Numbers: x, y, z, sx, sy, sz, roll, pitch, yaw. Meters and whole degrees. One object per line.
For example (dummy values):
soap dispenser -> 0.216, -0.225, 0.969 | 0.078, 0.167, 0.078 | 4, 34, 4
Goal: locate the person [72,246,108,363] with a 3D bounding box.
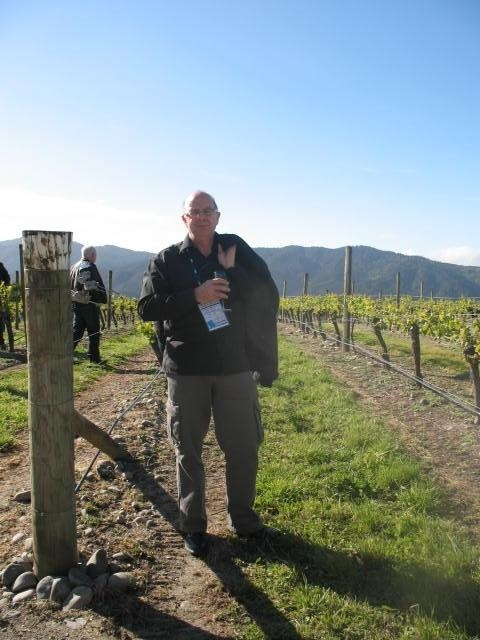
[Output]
person -> -2.516, -0.216, 8.165 | 0.552, 1.973, 1.013 | 0, 3, -19

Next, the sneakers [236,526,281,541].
sneakers -> 0.116, 1.299, 3.004 | 0.188, 0.061, 0.116 | -2, -5, -5

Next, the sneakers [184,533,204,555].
sneakers -> -0.265, 1.305, 2.909 | 0.071, 0.058, 0.131 | 0, 23, -12

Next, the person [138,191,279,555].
person -> -0.198, 0.307, 3.030 | 0.690, 2.084, 0.747 | 4, 4, 34

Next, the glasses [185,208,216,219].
glasses -> -0.216, -0.607, 2.831 | 0.187, 0.055, 0.093 | 2, 4, -2

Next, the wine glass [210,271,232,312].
wine glass -> -0.097, -0.156, 2.742 | 0.115, 0.251, 0.330 | 1, 4, -2
